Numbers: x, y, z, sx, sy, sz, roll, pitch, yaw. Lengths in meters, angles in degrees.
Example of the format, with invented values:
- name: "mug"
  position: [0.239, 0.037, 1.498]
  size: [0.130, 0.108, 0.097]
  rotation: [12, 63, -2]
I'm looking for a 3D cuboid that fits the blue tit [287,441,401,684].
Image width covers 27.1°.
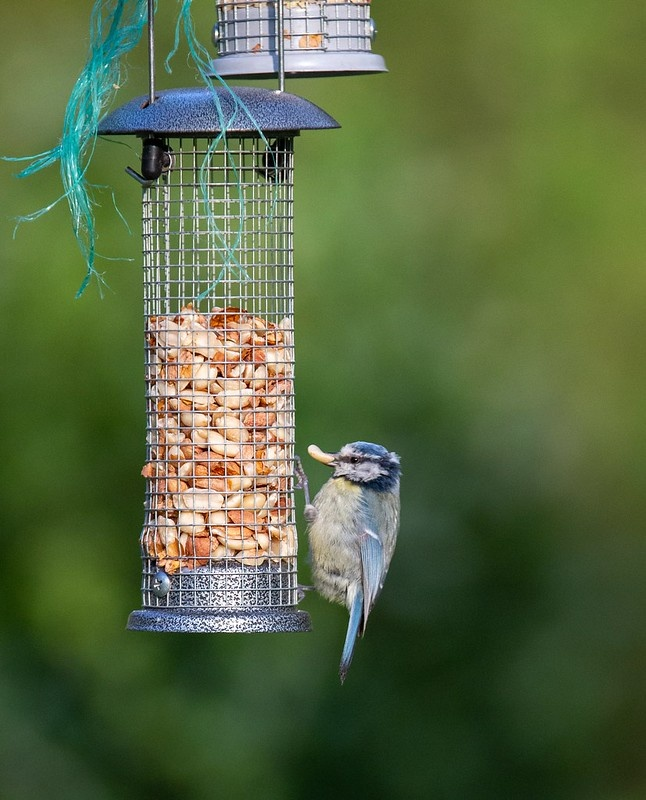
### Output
- name: "blue tit"
  position: [0.091, 0.567, 5.163]
  size: [0.348, 0.838, 0.580]
  rotation: [3, -5, 5]
